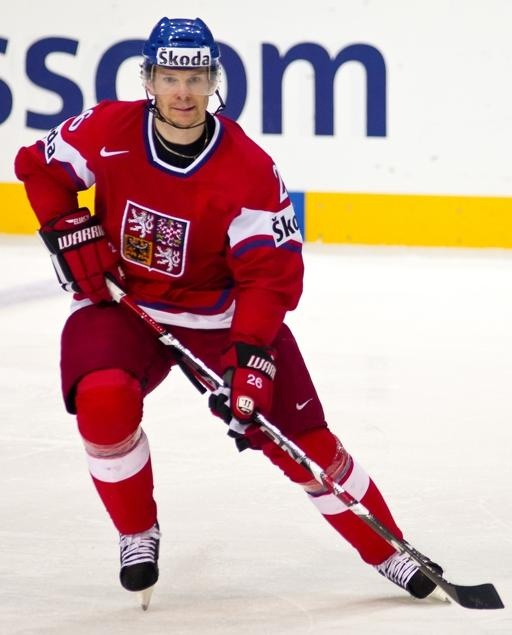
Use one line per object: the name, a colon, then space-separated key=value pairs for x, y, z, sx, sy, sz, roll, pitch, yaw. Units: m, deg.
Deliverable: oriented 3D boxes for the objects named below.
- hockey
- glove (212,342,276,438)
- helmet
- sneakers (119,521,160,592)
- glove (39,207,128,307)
hockey: x=0.106 y=0.289 z=1.700 sx=1.078 sy=0.151 sz=0.080 roll=31 pitch=71 yaw=14
glove: x=-0.005 y=0.127 z=1.337 sx=0.122 sy=0.151 sz=0.073 roll=12 pitch=-5 yaw=32
helmet: x=-0.111 y=-0.477 z=1.419 sx=0.144 sy=0.144 sz=0.167 roll=1 pitch=12 yaw=-4
sneakers: x=-0.180 y=0.383 z=1.244 sx=0.051 sy=0.046 sz=0.132 roll=-3 pitch=17 yaw=-1
glove: x=-0.327 y=-0.107 z=1.501 sx=0.131 sy=0.200 sz=0.070 roll=-29 pitch=-4 yaw=-10
